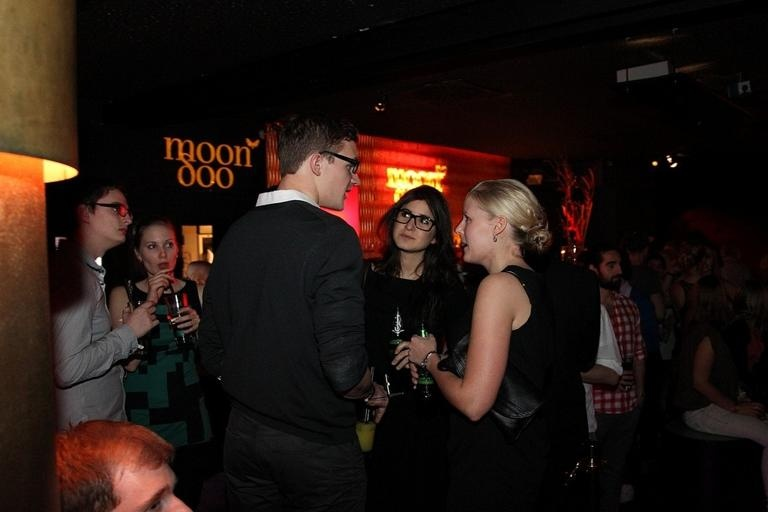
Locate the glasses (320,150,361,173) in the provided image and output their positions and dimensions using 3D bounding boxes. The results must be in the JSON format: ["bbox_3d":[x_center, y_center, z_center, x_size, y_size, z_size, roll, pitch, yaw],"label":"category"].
[{"bbox_3d":[-0.178,-0.410,2.406,0.100,0.028,0.097,18,-5,-21],"label":"glasses"}]

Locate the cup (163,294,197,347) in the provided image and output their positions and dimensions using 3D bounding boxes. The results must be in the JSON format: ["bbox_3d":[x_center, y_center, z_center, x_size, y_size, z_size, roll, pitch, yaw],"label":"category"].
[{"bbox_3d":[-1.058,0.336,2.922,0.110,0.293,0.143,3,1,10],"label":"cup"}]

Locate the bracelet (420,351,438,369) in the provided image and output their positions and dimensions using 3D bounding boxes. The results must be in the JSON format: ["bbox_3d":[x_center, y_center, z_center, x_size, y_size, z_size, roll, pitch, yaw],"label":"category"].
[{"bbox_3d":[0.183,0.467,2.526,0.029,0.076,0.065,41,10,19],"label":"bracelet"}]
